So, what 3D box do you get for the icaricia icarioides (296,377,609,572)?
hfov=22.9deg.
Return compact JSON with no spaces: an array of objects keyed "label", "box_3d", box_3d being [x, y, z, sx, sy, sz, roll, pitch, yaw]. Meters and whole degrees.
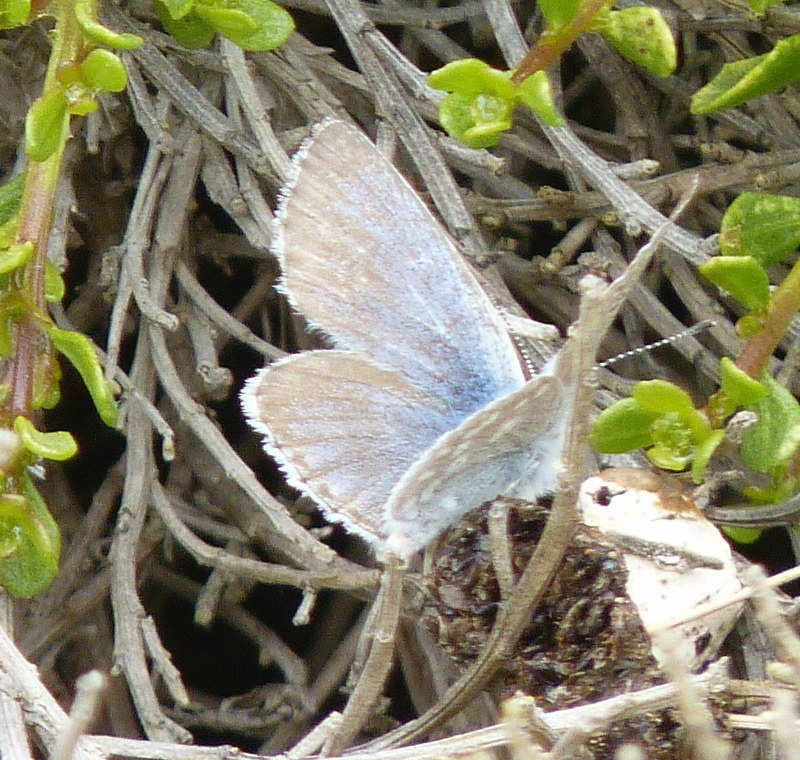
[{"label":"icaricia icarioides","box_3d":[0.071,0.066,2.206,0.311,0.134,0.316,-21,23,16]}]
